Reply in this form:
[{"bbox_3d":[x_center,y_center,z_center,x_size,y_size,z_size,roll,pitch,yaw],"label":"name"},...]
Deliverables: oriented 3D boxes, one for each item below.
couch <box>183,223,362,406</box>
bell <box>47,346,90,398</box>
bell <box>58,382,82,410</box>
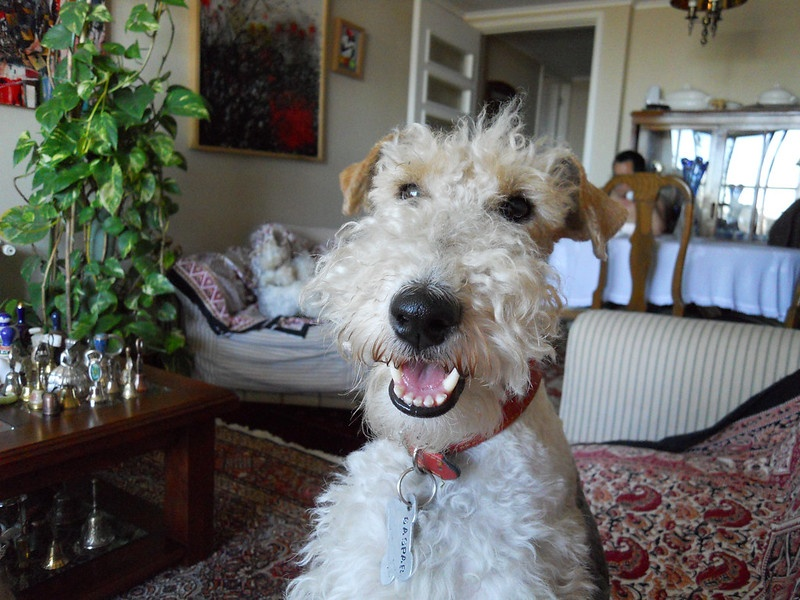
[{"bbox_3d":[-0.836,0.171,4.020,0.976,0.714,1.045,-1,21,-4],"label":"couch"},{"bbox_3d":[-1.306,0.286,2.552,0.149,0.187,0.160,0,-1,-9],"label":"bell"},{"bbox_3d":[-1.274,0.375,2.482,0.071,0.065,0.079,1,-8,-24],"label":"bell"}]
